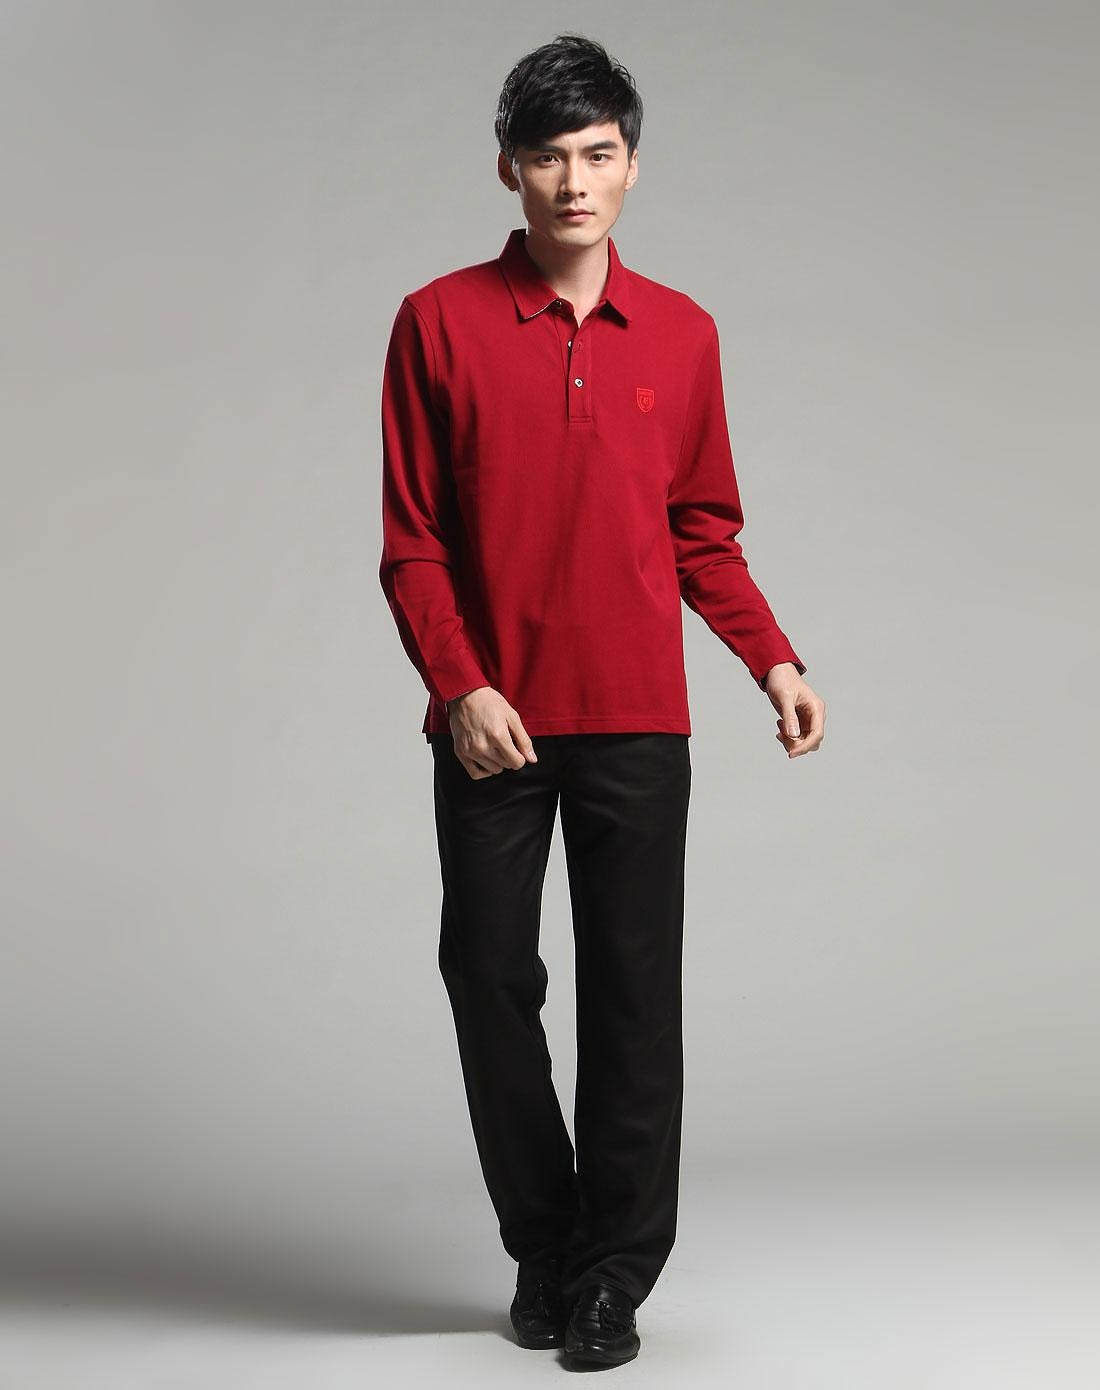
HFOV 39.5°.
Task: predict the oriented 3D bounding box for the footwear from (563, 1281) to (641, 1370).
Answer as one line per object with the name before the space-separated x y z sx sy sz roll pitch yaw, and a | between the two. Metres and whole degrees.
footwear | 0.067 0.744 1.811 0.101 0.108 0.099 0 -2 -9

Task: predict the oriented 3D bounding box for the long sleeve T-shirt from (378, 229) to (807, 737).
long sleeve T-shirt | 0.050 -0.252 1.857 0.460 0.604 0.216 1 -2 -29
